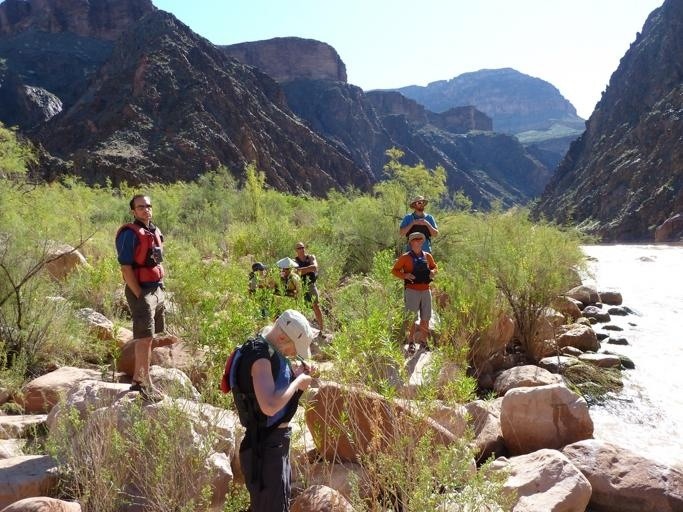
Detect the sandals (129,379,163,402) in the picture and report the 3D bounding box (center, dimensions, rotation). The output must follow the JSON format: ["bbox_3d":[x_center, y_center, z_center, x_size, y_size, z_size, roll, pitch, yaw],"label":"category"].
[{"bbox_3d":[-2.625,1.819,7.466,0.523,0.249,0.195,3,-4,20],"label":"sandals"}]

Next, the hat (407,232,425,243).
[{"bbox_3d":[1.304,-0.322,9.721,0.278,0.178,0.248,4,-4,7],"label":"hat"}]

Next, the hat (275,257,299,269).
[{"bbox_3d":[-1.018,0.141,10.365,0.356,0.202,0.306,5,-4,-6],"label":"hat"}]

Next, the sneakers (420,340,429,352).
[{"bbox_3d":[1.456,1.626,9.921,0.168,0.200,0.150,-3,7,-19],"label":"sneakers"}]

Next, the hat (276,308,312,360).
[{"bbox_3d":[-0.495,0.864,6.440,0.252,0.553,0.371,-36,5,15],"label":"hat"}]

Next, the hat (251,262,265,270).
[{"bbox_3d":[-1.576,0.216,10.639,0.255,0.156,0.465,5,-4,-9],"label":"hat"}]

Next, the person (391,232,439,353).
[{"bbox_3d":[1.278,0.642,9.703,0.745,2.037,0.390,3,-4,0],"label":"person"}]

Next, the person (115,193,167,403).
[{"bbox_3d":[-2.807,0.531,7.782,0.675,2.815,0.849,4,-4,-21],"label":"person"}]

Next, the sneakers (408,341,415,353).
[{"bbox_3d":[1.213,1.589,9.613,0.127,0.179,0.293,3,-4,7],"label":"sneakers"}]

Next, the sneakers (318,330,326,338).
[{"bbox_3d":[-0.382,1.581,11.155,0.117,0.125,0.340,4,-4,-5],"label":"sneakers"}]
